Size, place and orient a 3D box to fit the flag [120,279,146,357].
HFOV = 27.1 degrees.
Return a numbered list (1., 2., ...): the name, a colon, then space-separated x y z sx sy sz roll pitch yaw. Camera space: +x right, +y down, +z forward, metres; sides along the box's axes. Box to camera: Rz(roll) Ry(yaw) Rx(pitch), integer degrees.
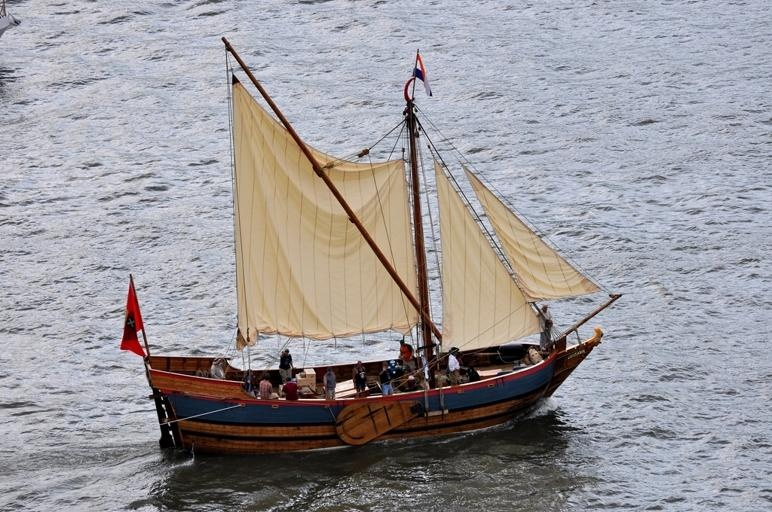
1. flag: -16.705 4.011 106.390 2.619 5.024 0.946 5 4 41
